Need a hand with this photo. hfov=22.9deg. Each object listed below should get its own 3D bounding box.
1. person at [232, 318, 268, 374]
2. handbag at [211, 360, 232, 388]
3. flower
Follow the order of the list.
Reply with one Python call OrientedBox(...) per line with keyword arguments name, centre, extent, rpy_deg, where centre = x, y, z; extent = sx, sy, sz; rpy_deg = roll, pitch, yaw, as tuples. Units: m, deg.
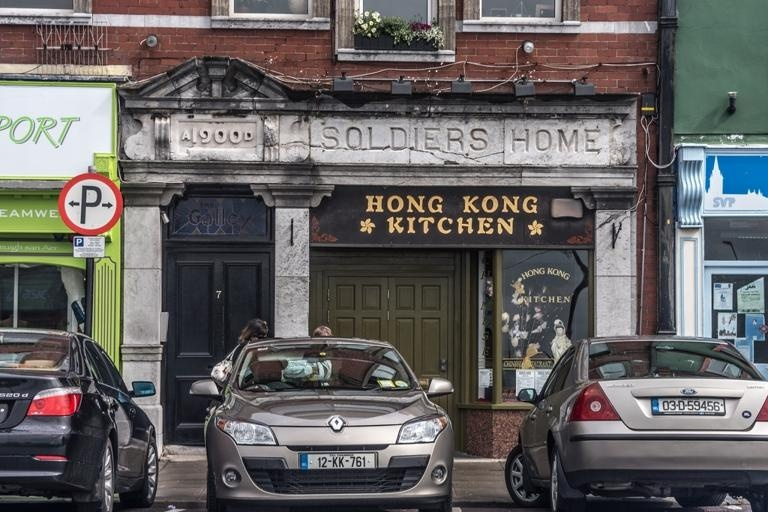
OrientedBox(name="person", centre=(-2.181, 1.570, 31.414), extent=(0.426, 1.180, 0.387), rpy_deg=(10, 27, 1))
OrientedBox(name="handbag", centre=(-2.506, 1.779, 28.808), extent=(0.280, 0.379, 0.162), rpy_deg=(2, -32, 33))
OrientedBox(name="flower", centre=(0.265, -3.697, 32.038), extent=(1.079, 0.337, 0.756), rpy_deg=(3, -4, -4))
